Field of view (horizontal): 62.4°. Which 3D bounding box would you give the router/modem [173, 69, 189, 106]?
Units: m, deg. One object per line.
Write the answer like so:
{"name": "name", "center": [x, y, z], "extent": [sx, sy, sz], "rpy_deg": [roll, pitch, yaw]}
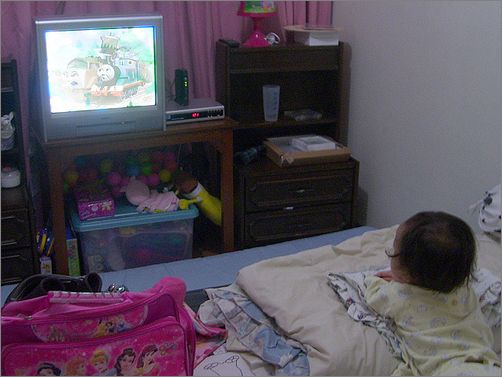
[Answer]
{"name": "router/modem", "center": [-0.425, -0.619, 2.540], "extent": [0.089, 0.218, 0.180], "rpy_deg": [-8, 17, -17]}

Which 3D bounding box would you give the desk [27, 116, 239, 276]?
{"name": "desk", "center": [-0.725, 0.048, 2.419], "extent": [0.843, 0.723, 0.296], "rpy_deg": [-12, 36, -16]}

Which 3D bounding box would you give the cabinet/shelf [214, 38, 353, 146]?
{"name": "cabinet/shelf", "center": [0.200, -0.661, 2.779], "extent": [0.677, 0.671, 0.261], "rpy_deg": [-10, 31, -15]}

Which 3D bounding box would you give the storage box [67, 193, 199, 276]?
{"name": "storage box", "center": [-0.673, 0.301, 2.454], "extent": [0.606, 0.309, 0.438], "rpy_deg": [-8, 23, -18]}

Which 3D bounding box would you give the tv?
{"name": "tv", "center": [-0.805, -0.586, 2.168], "extent": [0.624, 0.572, 0.239], "rpy_deg": [-9, 28, -18]}

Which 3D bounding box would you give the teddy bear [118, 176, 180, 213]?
{"name": "teddy bear", "center": [-0.600, 0.065, 2.472], "extent": [0.247, 0.076, 0.211], "rpy_deg": [16, 33, -2]}

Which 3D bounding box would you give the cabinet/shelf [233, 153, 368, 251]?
{"name": "cabinet/shelf", "center": [0.276, 0.135, 2.940], "extent": [0.854, 0.786, 0.473], "rpy_deg": [-5, 27, -9]}
